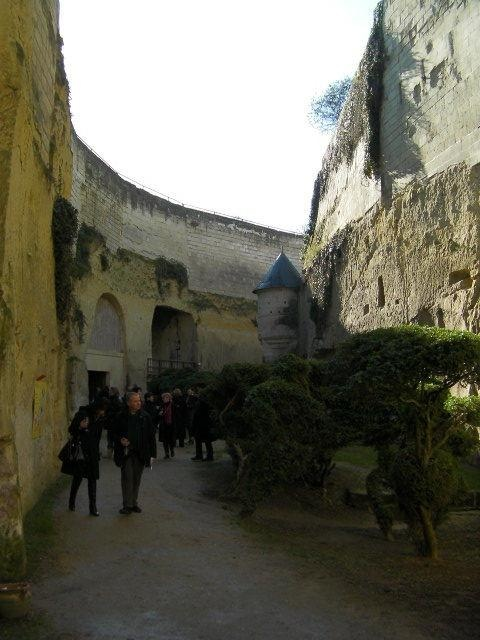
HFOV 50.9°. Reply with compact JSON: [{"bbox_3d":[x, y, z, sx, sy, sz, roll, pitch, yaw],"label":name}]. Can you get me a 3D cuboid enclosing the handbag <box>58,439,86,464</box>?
[{"bbox_3d":[-2.073,1.630,6.223,0.362,0.312,0.105,-2,-8,28],"label":"handbag"}]
